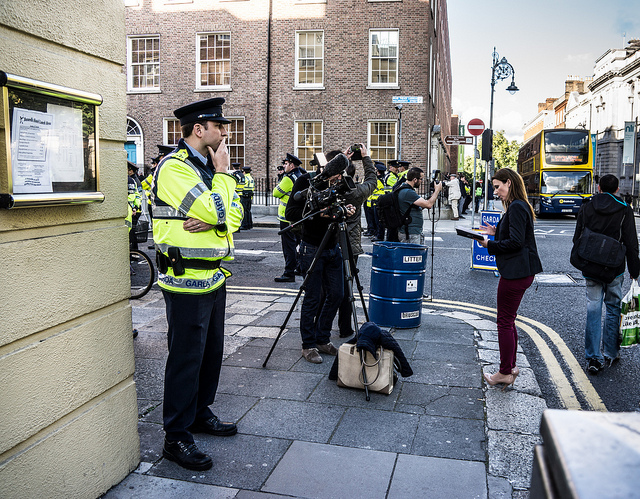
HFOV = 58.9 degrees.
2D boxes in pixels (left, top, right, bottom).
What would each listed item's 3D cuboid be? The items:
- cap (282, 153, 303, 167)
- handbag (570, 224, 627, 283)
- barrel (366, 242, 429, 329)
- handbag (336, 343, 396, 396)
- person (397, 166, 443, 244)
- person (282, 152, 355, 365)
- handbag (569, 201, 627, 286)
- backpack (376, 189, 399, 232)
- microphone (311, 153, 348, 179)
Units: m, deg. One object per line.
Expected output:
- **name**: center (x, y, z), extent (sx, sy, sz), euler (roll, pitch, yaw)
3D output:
- **cap**: center (-0.525, -1.618, 10.291), extent (0.343, 0.161, 0.303), euler (14, 21, 0)
- **handbag**: center (2.858, 0.074, 5.854), extent (0.505, 0.545, 0.284), euler (4, 12, 30)
- **barrel**: center (0.953, 0.458, 7.026), extent (0.717, 1.061, 0.334), euler (-2, 10, 5)
- **handbag**: center (0.409, 1.067, 4.980), extent (0.398, 0.389, 0.161), euler (1, 5, 22)
- **person**: center (1.459, -0.623, 8.581), extent (0.580, 1.169, 1.275), euler (-1, 11, 7)
- **person**: center (-0.001, 0.099, 5.853), extent (0.683, 2.162, 1.122), euler (-3, 10, -4)
- **handbag**: center (2.945, -0.139, 5.826), extent (0.485, 0.801, 0.415), euler (17, 36, 32)
- **backpack**: center (1.066, -0.617, 8.975), extent (0.324, 0.725, 1.074), euler (-1, 11, 6)
- **microphone**: center (0.100, -0.749, 5.432), extent (0.457, 0.130, 0.120), euler (-27, 6, 47)
